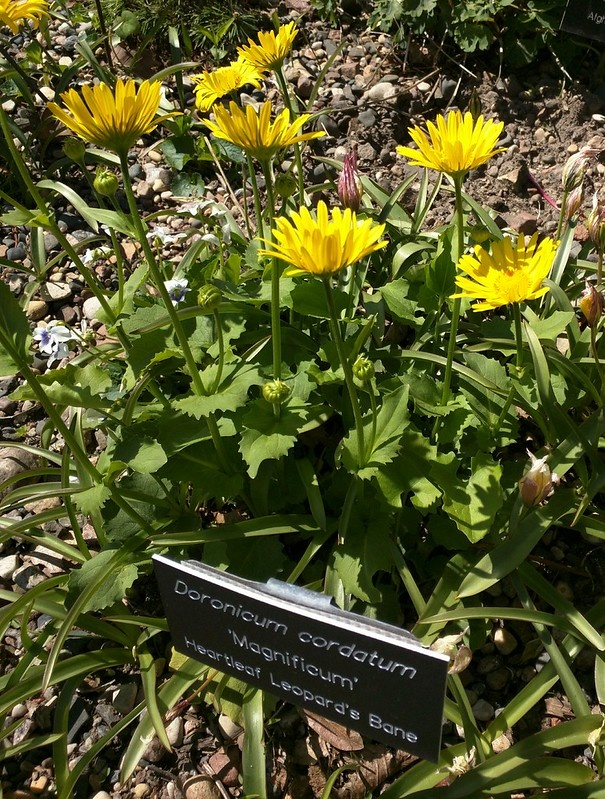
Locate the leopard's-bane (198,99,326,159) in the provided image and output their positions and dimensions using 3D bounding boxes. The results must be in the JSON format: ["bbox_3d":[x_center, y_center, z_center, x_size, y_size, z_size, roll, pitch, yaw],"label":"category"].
[{"bbox_3d":[-0.062,-0.387,0.919,0.179,0.072,0.152,-6,11,-42],"label":"leopard's-bane"}]

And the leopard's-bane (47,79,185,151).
[{"bbox_3d":[-0.239,-0.337,0.745,0.109,0.057,0.103,-13,16,35],"label":"leopard's-bane"}]

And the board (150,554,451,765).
[{"bbox_3d":[-0.011,0.410,0.942,0.466,0.242,0.045,16,44,20],"label":"board"}]

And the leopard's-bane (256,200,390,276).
[{"bbox_3d":[0.028,-0.180,0.725,0.146,0.062,0.148,-2,7,41],"label":"leopard's-bane"}]

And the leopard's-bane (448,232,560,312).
[{"bbox_3d":[0.315,-0.182,0.923,0.158,0.147,0.053,11,65,-7],"label":"leopard's-bane"}]
